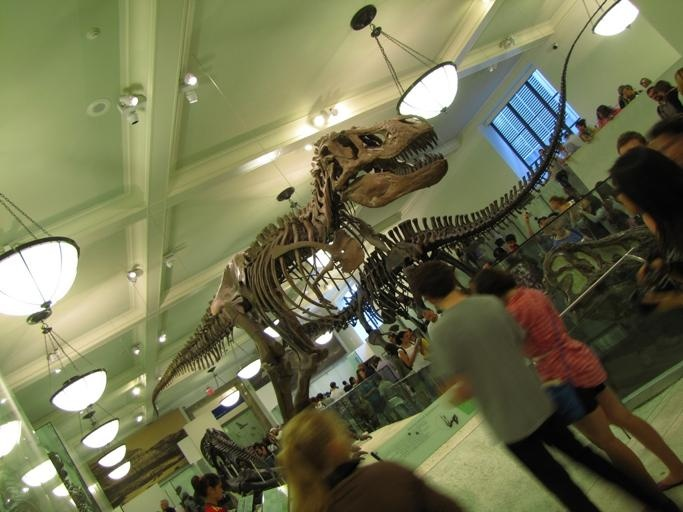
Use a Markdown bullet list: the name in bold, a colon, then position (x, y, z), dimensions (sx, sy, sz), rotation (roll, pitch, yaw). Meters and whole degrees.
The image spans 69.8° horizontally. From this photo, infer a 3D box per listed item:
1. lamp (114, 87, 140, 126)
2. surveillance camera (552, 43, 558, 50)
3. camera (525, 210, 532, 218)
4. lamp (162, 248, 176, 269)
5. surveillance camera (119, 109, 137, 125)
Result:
- **lamp**: position (-2.694, -1.899, 6.222), dimensions (0.296, 0.318, 0.414), rotation (-22, -20, -46)
- **surveillance camera**: position (4.211, -4.129, 9.729), dimensions (0.176, 0.096, 0.101), rotation (-14, -59, -69)
- **camera**: position (2.285, -0.521, 6.049), dimensions (0.043, 0.074, 0.106), rotation (-56, -46, -12)
- **lamp**: position (-3.240, 0.060, 9.239), dimensions (0.234, 0.112, 0.320), rotation (2, -62, -51)
- **surveillance camera**: position (-2.679, -1.761, 6.279), dimensions (0.161, 0.290, 0.168), rotation (-19, -77, -47)
